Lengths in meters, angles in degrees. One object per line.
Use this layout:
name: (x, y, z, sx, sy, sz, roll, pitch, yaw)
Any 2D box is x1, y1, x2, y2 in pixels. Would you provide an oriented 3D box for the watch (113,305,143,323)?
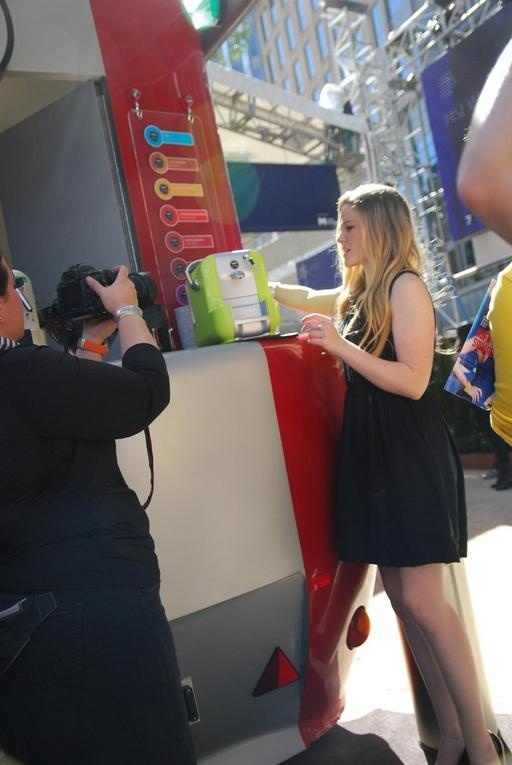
watch: (-0.193, -0.107, 0.890, 0.038, 0.023, 0.037, -1, -18, -19)

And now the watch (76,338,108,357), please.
watch: (-0.282, -0.062, 1.017, 0.037, 0.015, 0.037, 29, 1, 30)

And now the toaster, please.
toaster: (-0.064, -0.207, 1.444, 0.219, 0.229, 0.229, -12, 1, 14)

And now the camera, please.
camera: (-0.254, -0.165, 1.041, 0.149, 0.094, 0.168, -3, 6, 31)

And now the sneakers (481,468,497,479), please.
sneakers: (1.981, 0.762, 4.997, 0.074, 0.089, 0.223, -16, -14, 28)
